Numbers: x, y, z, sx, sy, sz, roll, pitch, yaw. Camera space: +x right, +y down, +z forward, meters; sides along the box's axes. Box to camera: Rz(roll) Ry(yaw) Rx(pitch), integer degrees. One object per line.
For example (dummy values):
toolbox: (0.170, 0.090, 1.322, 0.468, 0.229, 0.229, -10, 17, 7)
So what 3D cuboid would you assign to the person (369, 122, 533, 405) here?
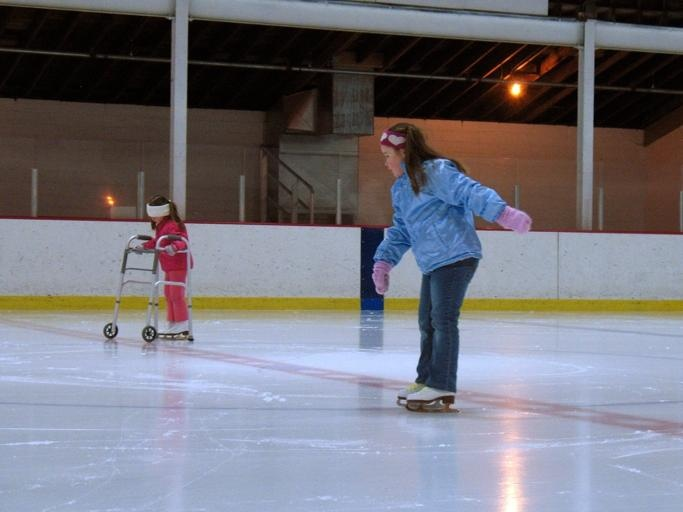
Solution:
person: (0.749, 0.088, 9.284, 0.627, 2.227, 1.301, -9, 15, -40)

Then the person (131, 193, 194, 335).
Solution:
person: (-1.879, 0.089, 12.503, 0.514, 1.436, 0.760, -1, 11, -9)

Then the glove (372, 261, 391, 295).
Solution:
glove: (0.338, 0.173, 9.647, 0.167, 0.270, 0.106, 8, -19, -4)

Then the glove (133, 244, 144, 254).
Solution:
glove: (-2.134, -0.070, 12.155, 0.119, 0.086, 0.167, 1, 0, -6)

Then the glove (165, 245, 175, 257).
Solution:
glove: (-1.791, -0.063, 12.052, 0.099, 0.104, 0.133, 0, 11, -2)
